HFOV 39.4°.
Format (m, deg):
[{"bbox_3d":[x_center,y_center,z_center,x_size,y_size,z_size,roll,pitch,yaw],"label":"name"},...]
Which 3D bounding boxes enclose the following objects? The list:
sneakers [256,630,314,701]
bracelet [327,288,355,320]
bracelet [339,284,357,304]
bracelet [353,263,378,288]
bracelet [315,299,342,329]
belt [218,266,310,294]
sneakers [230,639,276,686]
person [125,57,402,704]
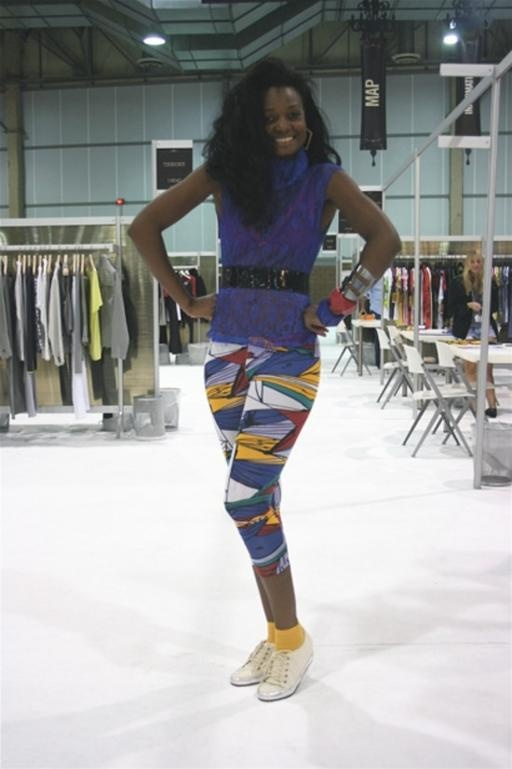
[{"bbox_3d":[0.061,0.715,1.792,0.066,0.065,0.179,-5,11,18],"label":"sneakers"},{"bbox_3d":[0.172,-0.181,1.566,0.056,0.059,0.067,24,8,-4],"label":"bracelet"},{"bbox_3d":[0.196,-0.194,1.531,0.025,0.034,0.033,29,1,10],"label":"bracelet"},{"bbox_3d":[0.233,-0.235,1.557,0.044,0.042,0.057,41,-2,-6],"label":"bracelet"},{"bbox_3d":[0.156,-0.142,1.532,0.051,0.065,0.046,4,-30,-34],"label":"bracelet"},{"bbox_3d":[0.011,-0.238,1.616,0.207,0.067,0.114,0,5,11],"label":"belt"},{"bbox_3d":[-0.004,0.738,1.888,0.052,0.064,0.158,1,2,25],"label":"sneakers"},{"bbox_3d":[0.029,0.019,1.703,0.612,1.515,0.303,2,6,25],"label":"person"}]
